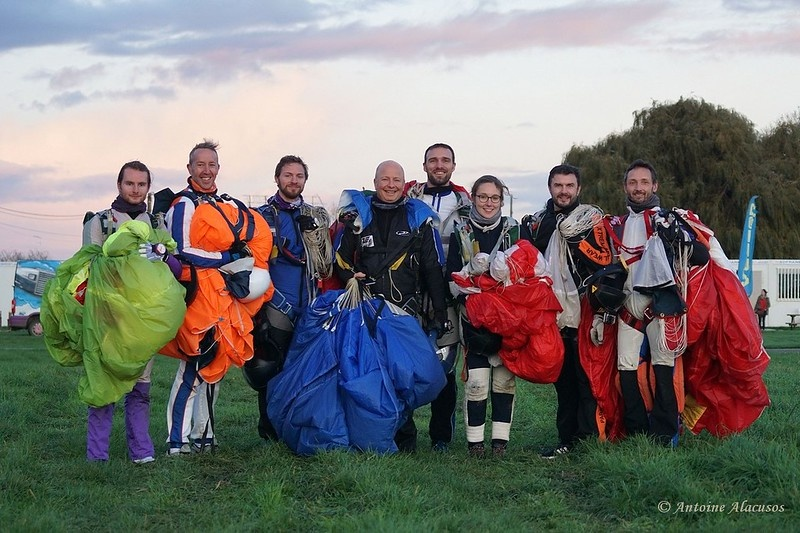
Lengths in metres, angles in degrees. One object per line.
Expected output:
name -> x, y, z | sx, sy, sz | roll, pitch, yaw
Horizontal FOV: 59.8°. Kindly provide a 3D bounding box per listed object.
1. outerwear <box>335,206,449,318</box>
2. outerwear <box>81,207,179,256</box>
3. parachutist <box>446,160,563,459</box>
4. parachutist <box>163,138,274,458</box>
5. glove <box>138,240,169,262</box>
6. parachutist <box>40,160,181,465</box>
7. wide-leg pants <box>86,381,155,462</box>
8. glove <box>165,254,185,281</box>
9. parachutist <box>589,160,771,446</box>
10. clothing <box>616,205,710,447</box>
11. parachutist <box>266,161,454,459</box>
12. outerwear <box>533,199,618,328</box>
outerwear -> -0.113, -0.037, 7.124 | 1.021, 1.177, 0.638 | -2, -7, 14
outerwear -> -2.518, -0.302, 6.449 | 0.505, 0.500, 0.274 | 1, -9, -24
parachutist -> 1.041, 0.490, 7.045 | 1.225, 2.788, 0.663 | 3, 3, 15
parachutist -> -1.880, 0.288, 7.024 | 1.148, 3.112, 1.088 | 4, -11, -33
glove -> -2.263, -0.137, 6.341 | 0.239, 0.160, 0.103 | 2, 3, -15
parachutist -> -2.658, 0.412, 6.756 | 1.067, 2.923, 0.963 | -6, -11, 8
wide-leg pants -> -2.609, 1.466, 6.509 | 0.587, 0.744, 0.330 | 1, 3, -27
glove -> -2.097, 0.013, 6.474 | 0.113, 0.238, 0.168 | 3, 3, 11
parachutist -> 2.627, 0.350, 7.168 | 1.771, 2.807, 1.469 | -9, -16, 41
clothing -> 2.550, 0.520, 6.877 | 0.781, 2.400, 0.490 | 3, 3, 21
parachutist -> -0.355, 0.379, 6.891 | 1.705, 2.899, 0.981 | 2, 3, -11
outerwear -> 1.733, -0.007, 7.088 | 0.428, 1.123, 0.822 | 7, -19, 12
